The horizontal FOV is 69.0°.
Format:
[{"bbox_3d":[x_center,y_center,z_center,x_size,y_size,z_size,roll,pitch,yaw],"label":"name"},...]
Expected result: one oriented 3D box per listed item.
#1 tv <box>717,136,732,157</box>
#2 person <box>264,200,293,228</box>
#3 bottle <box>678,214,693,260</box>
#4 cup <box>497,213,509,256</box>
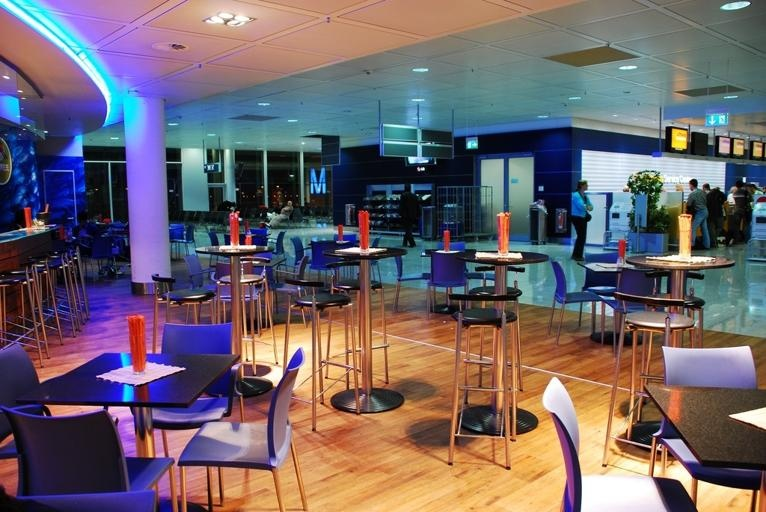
[{"bbox_3d":[8.334,-2.682,13.626,0.607,0.462,0.076,-3,4,-40],"label":"tv"},{"bbox_3d":[-4.864,-1.777,24.423,1.815,1.176,0.823,-3,11,-5],"label":"person"},{"bbox_3d":[2.705,-0.174,4.988,0.078,0.394,0.238,0,6,31],"label":"bottle"},{"bbox_3d":[1.072,-0.200,4.960,0.096,0.364,0.195,-2,5,8],"label":"cup"}]
